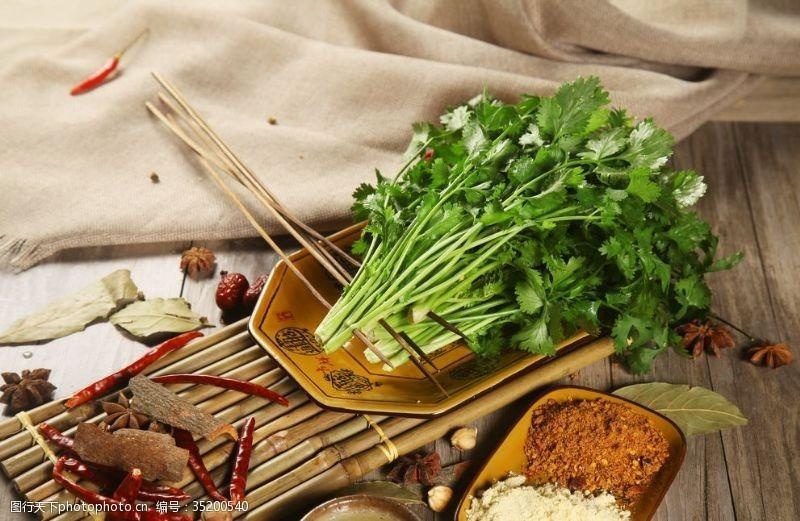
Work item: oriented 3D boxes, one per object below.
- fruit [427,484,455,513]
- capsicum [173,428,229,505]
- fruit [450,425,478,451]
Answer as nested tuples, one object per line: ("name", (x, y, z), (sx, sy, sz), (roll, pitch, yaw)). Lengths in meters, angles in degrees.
("fruit", (0.152, 0.893, 2.703), (0.093, 0.100, 0.087), (135, 156, -69))
("capsicum", (-0.733, 0.766, 2.636), (0.049, 0.291, 0.056), (-37, -2, 21))
("fruit", (0.247, 0.706, 2.840), (0.108, 0.082, 0.065), (-25, -23, -17))
